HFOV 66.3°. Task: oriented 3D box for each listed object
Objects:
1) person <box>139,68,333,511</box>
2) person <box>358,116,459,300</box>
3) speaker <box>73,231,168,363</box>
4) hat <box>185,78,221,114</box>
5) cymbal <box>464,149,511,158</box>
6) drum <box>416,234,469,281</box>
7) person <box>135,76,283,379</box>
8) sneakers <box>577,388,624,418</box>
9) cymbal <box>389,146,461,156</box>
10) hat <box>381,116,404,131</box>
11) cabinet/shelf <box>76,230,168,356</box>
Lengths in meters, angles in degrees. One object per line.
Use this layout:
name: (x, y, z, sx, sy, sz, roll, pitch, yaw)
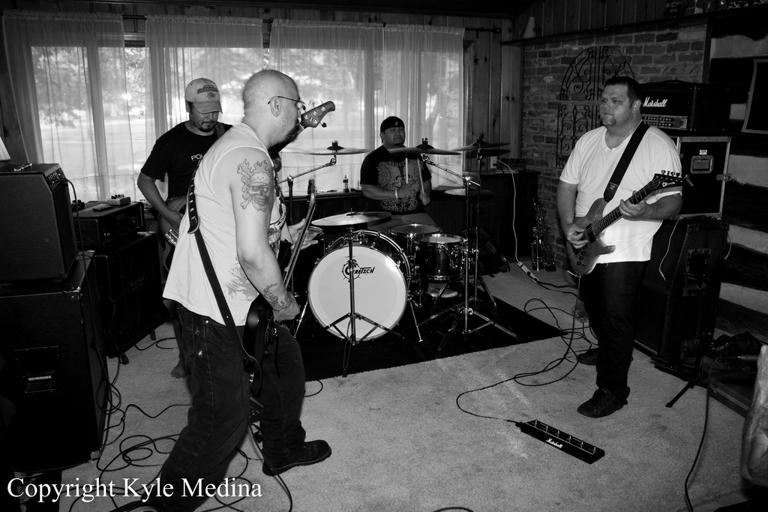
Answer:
person: (-0.832, 0.247, 3.265, 1.098, 2.414, 0.574, -11, 22, -30)
person: (0.221, -0.513, 6.043, 0.861, 1.751, 0.941, -8, 15, -31)
speaker: (-2.324, 0.262, 5.205, 0.383, 0.915, 0.948, -1, 11, 4)
hat: (-1.373, -1.203, 4.527, 0.202, 0.161, 0.313, -23, 61, -41)
cymbal: (1.185, -1.212, 6.926, 0.286, 0.067, 0.287, -11, 14, -28)
drum: (0.492, 0.049, 5.501, 0.568, 0.452, 0.569, -1, 2, 0)
person: (-1.797, -0.527, 5.130, 0.913, 2.064, 0.660, -17, 49, -45)
sneakers: (1.530, 1.048, 4.217, 0.308, 0.134, 0.173, -6, 20, -8)
cymbal: (0.376, -1.029, 5.752, 0.315, 0.077, 0.319, 8, 16, 28)
hat: (0.078, -1.333, 5.946, 0.179, 0.124, 0.179, -3, 5, 3)
cabinet/shelf: (-2.104, 0.287, 4.705, 0.385, 0.948, 0.945, -7, 7, 5)
